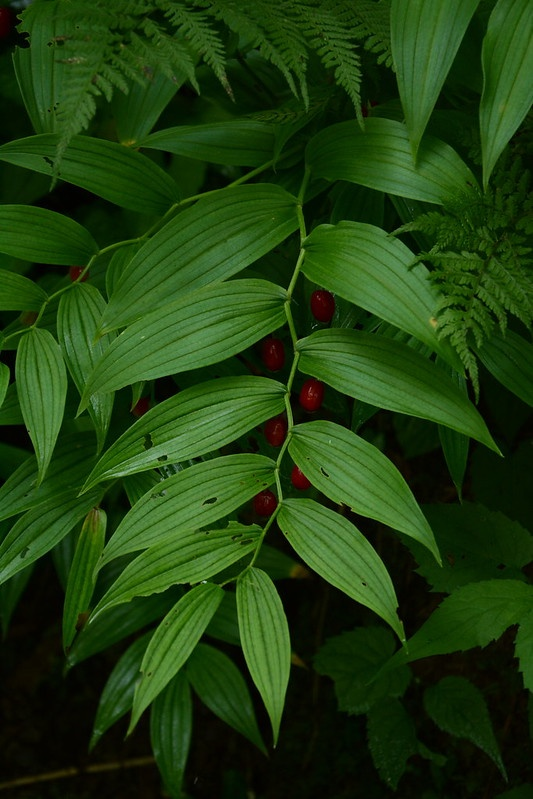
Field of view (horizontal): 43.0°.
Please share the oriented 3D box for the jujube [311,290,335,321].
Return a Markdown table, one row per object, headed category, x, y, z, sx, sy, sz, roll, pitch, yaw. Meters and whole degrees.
| category | x | y | z | sx | sy | sz | roll | pitch | yaw |
| --- | --- | --- | --- | --- | --- | --- | --- | --- | --- |
| jujube | 0.060 | -0.101 | 0.721 | 0.026 | 0.041 | 0.025 | -10 | 26 | -10 |
